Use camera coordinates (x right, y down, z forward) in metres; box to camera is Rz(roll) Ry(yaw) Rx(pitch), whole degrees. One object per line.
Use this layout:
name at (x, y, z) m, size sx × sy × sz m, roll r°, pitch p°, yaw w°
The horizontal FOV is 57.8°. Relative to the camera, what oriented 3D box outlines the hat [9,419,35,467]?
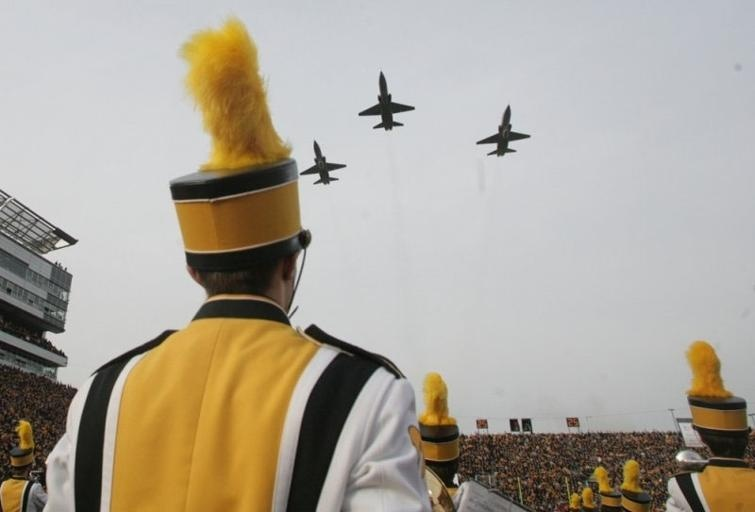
hat at (-6.072, 3.264, 11.690) m, size 0.388 × 0.319 × 0.822 m, roll -2°, pitch 20°, yaw -11°
